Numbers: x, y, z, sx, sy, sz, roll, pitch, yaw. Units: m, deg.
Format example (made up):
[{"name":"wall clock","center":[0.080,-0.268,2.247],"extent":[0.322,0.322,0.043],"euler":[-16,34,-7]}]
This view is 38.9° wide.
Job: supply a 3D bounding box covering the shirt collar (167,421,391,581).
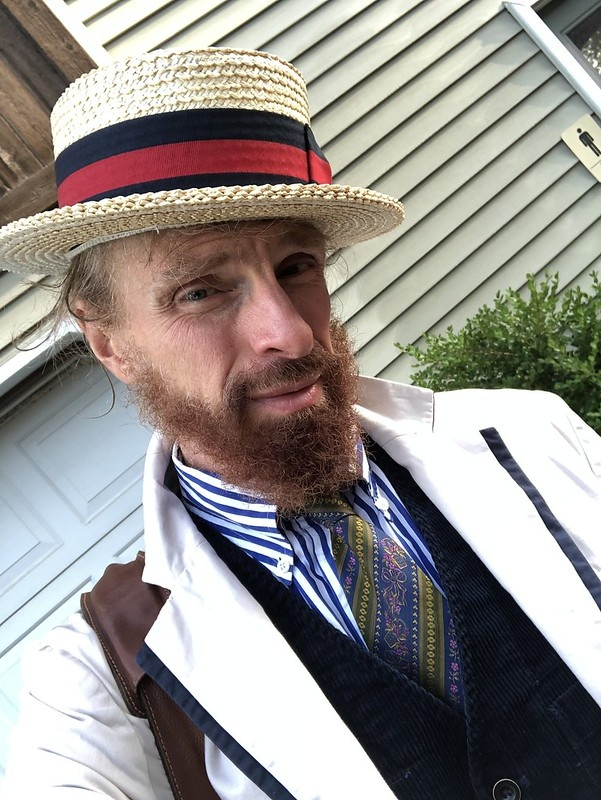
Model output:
[{"name":"shirt collar","center":[-0.108,0.273,2.143],"extent":[0.329,0.411,0.201],"euler":[-28,-61,-2]}]
